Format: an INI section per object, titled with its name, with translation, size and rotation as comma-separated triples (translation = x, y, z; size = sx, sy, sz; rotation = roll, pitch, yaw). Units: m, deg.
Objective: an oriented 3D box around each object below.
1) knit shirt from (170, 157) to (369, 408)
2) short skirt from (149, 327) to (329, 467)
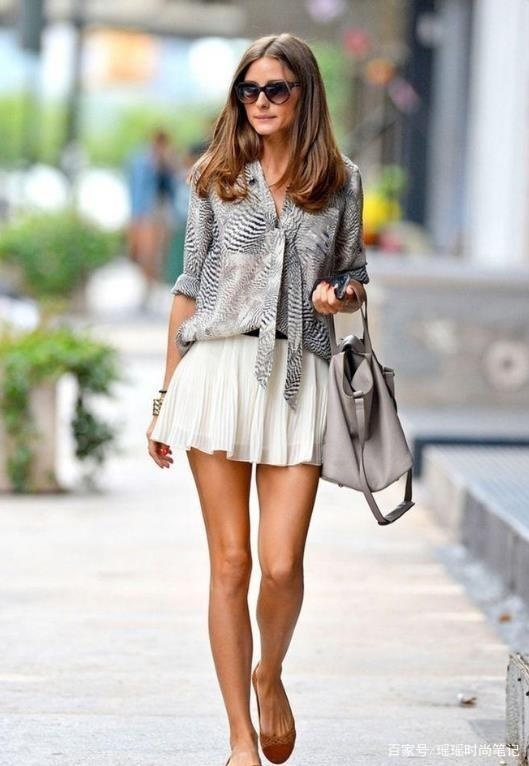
[knit shirt]
translation = 0.010, -0.228, 1.969
size = 0.408, 0.520, 0.249
rotation = 3, 4, 3
[short skirt]
translation = -0.035, 0.031, 1.954
size = 0.279, 0.223, 0.168
rotation = 21, -13, -9
